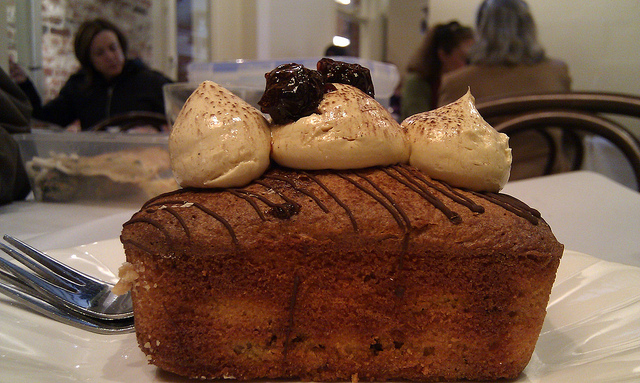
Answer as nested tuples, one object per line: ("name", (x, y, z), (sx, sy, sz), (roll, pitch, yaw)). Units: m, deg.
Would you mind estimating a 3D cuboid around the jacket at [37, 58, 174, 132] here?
("jacket", (-1.355, -0.598, 3.522), (0.733, 0.538, 0.430), (0, -7, -15))
